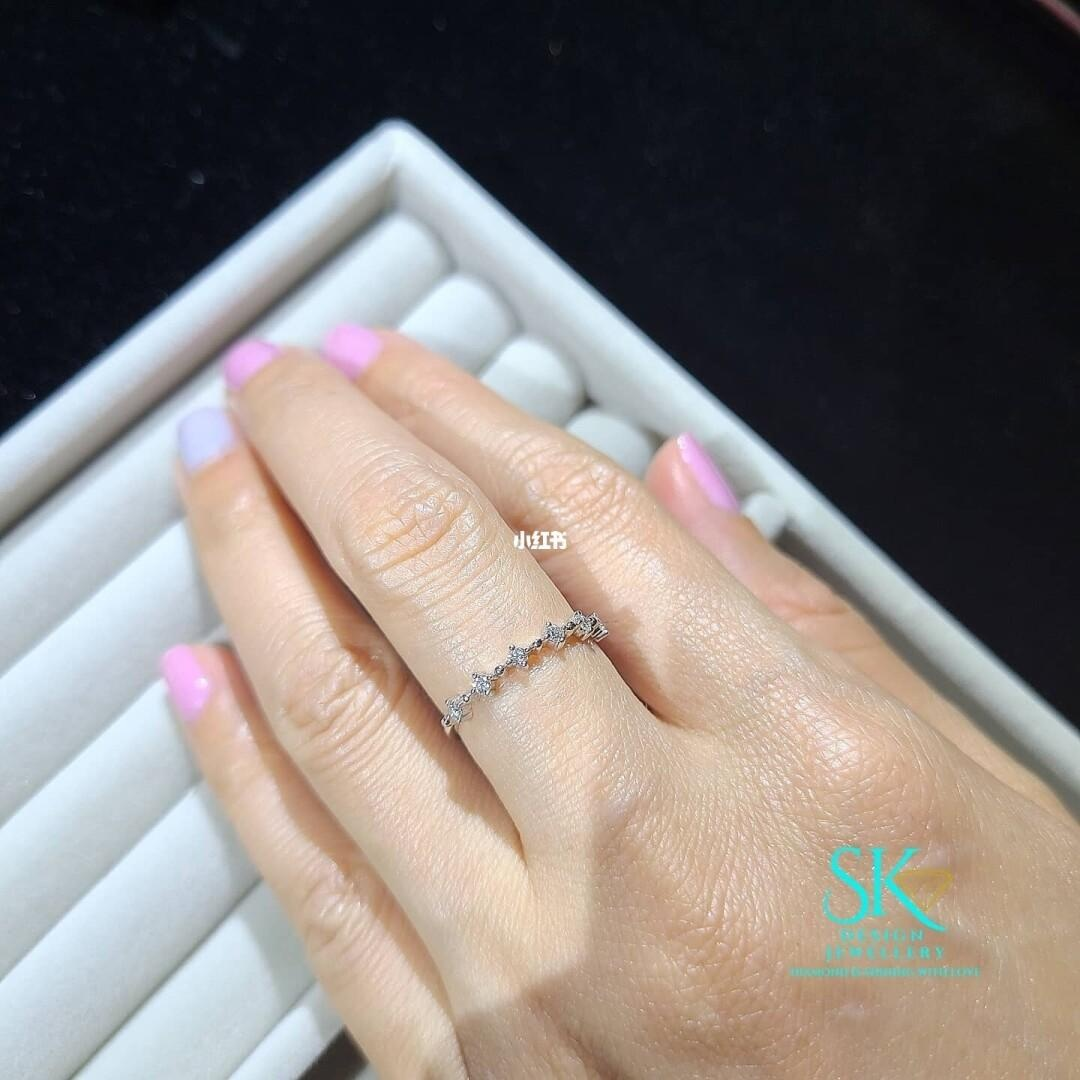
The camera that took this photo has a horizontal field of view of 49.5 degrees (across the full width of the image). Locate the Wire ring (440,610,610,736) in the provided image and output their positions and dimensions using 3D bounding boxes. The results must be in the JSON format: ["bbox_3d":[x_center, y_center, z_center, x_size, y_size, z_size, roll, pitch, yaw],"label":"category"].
[{"bbox_3d":[-0.016,0.108,0.924,0.094,0.033,0.022,-41,72,-5],"label":"Wire ring"}]
